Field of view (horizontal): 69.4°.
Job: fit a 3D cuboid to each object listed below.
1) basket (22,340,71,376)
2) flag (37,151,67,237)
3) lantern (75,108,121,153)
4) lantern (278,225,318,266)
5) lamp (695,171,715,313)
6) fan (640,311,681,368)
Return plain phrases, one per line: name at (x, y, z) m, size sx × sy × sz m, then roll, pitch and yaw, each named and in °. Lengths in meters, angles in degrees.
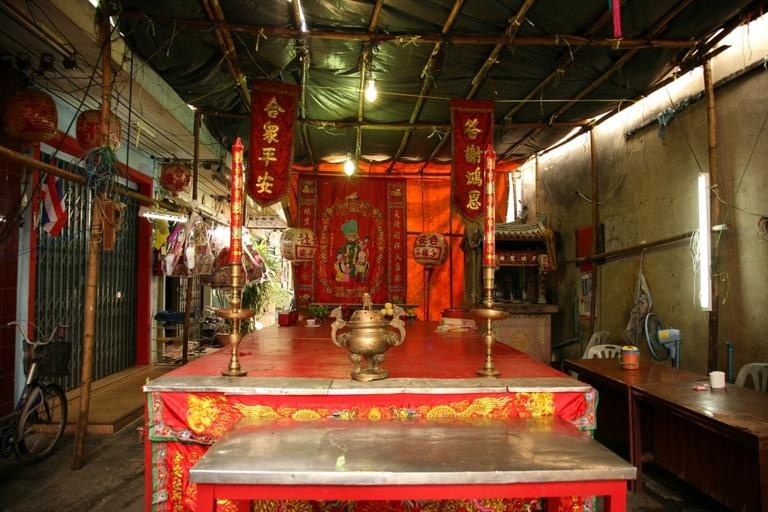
basket at (-4.242, 1.302, 7.149) m, size 0.742 × 0.544 × 0.395 m, roll 2°, pitch -9°, yaw -18°
flag at (-4.674, -0.859, 7.774) m, size 0.306 × 1.340 × 0.287 m, roll 13°, pitch 20°, yaw 33°
lantern at (-3.706, -1.616, 7.170) m, size 0.598 × 0.526 × 0.557 m, roll 0°, pitch -2°, yaw -3°
lantern at (-1.483, -0.180, 9.639) m, size 0.601 × 0.684 × 0.582 m, roll 5°, pitch -3°, yaw -11°
lamp at (4.263, -0.195, 7.348) m, size 0.211 × 1.992 × 0.177 m, roll -1°, pitch 6°, yaw 5°
fan at (3.745, 1.110, 7.434) m, size 0.475 × 0.769 × 0.523 m, roll 8°, pitch 13°, yaw 22°
